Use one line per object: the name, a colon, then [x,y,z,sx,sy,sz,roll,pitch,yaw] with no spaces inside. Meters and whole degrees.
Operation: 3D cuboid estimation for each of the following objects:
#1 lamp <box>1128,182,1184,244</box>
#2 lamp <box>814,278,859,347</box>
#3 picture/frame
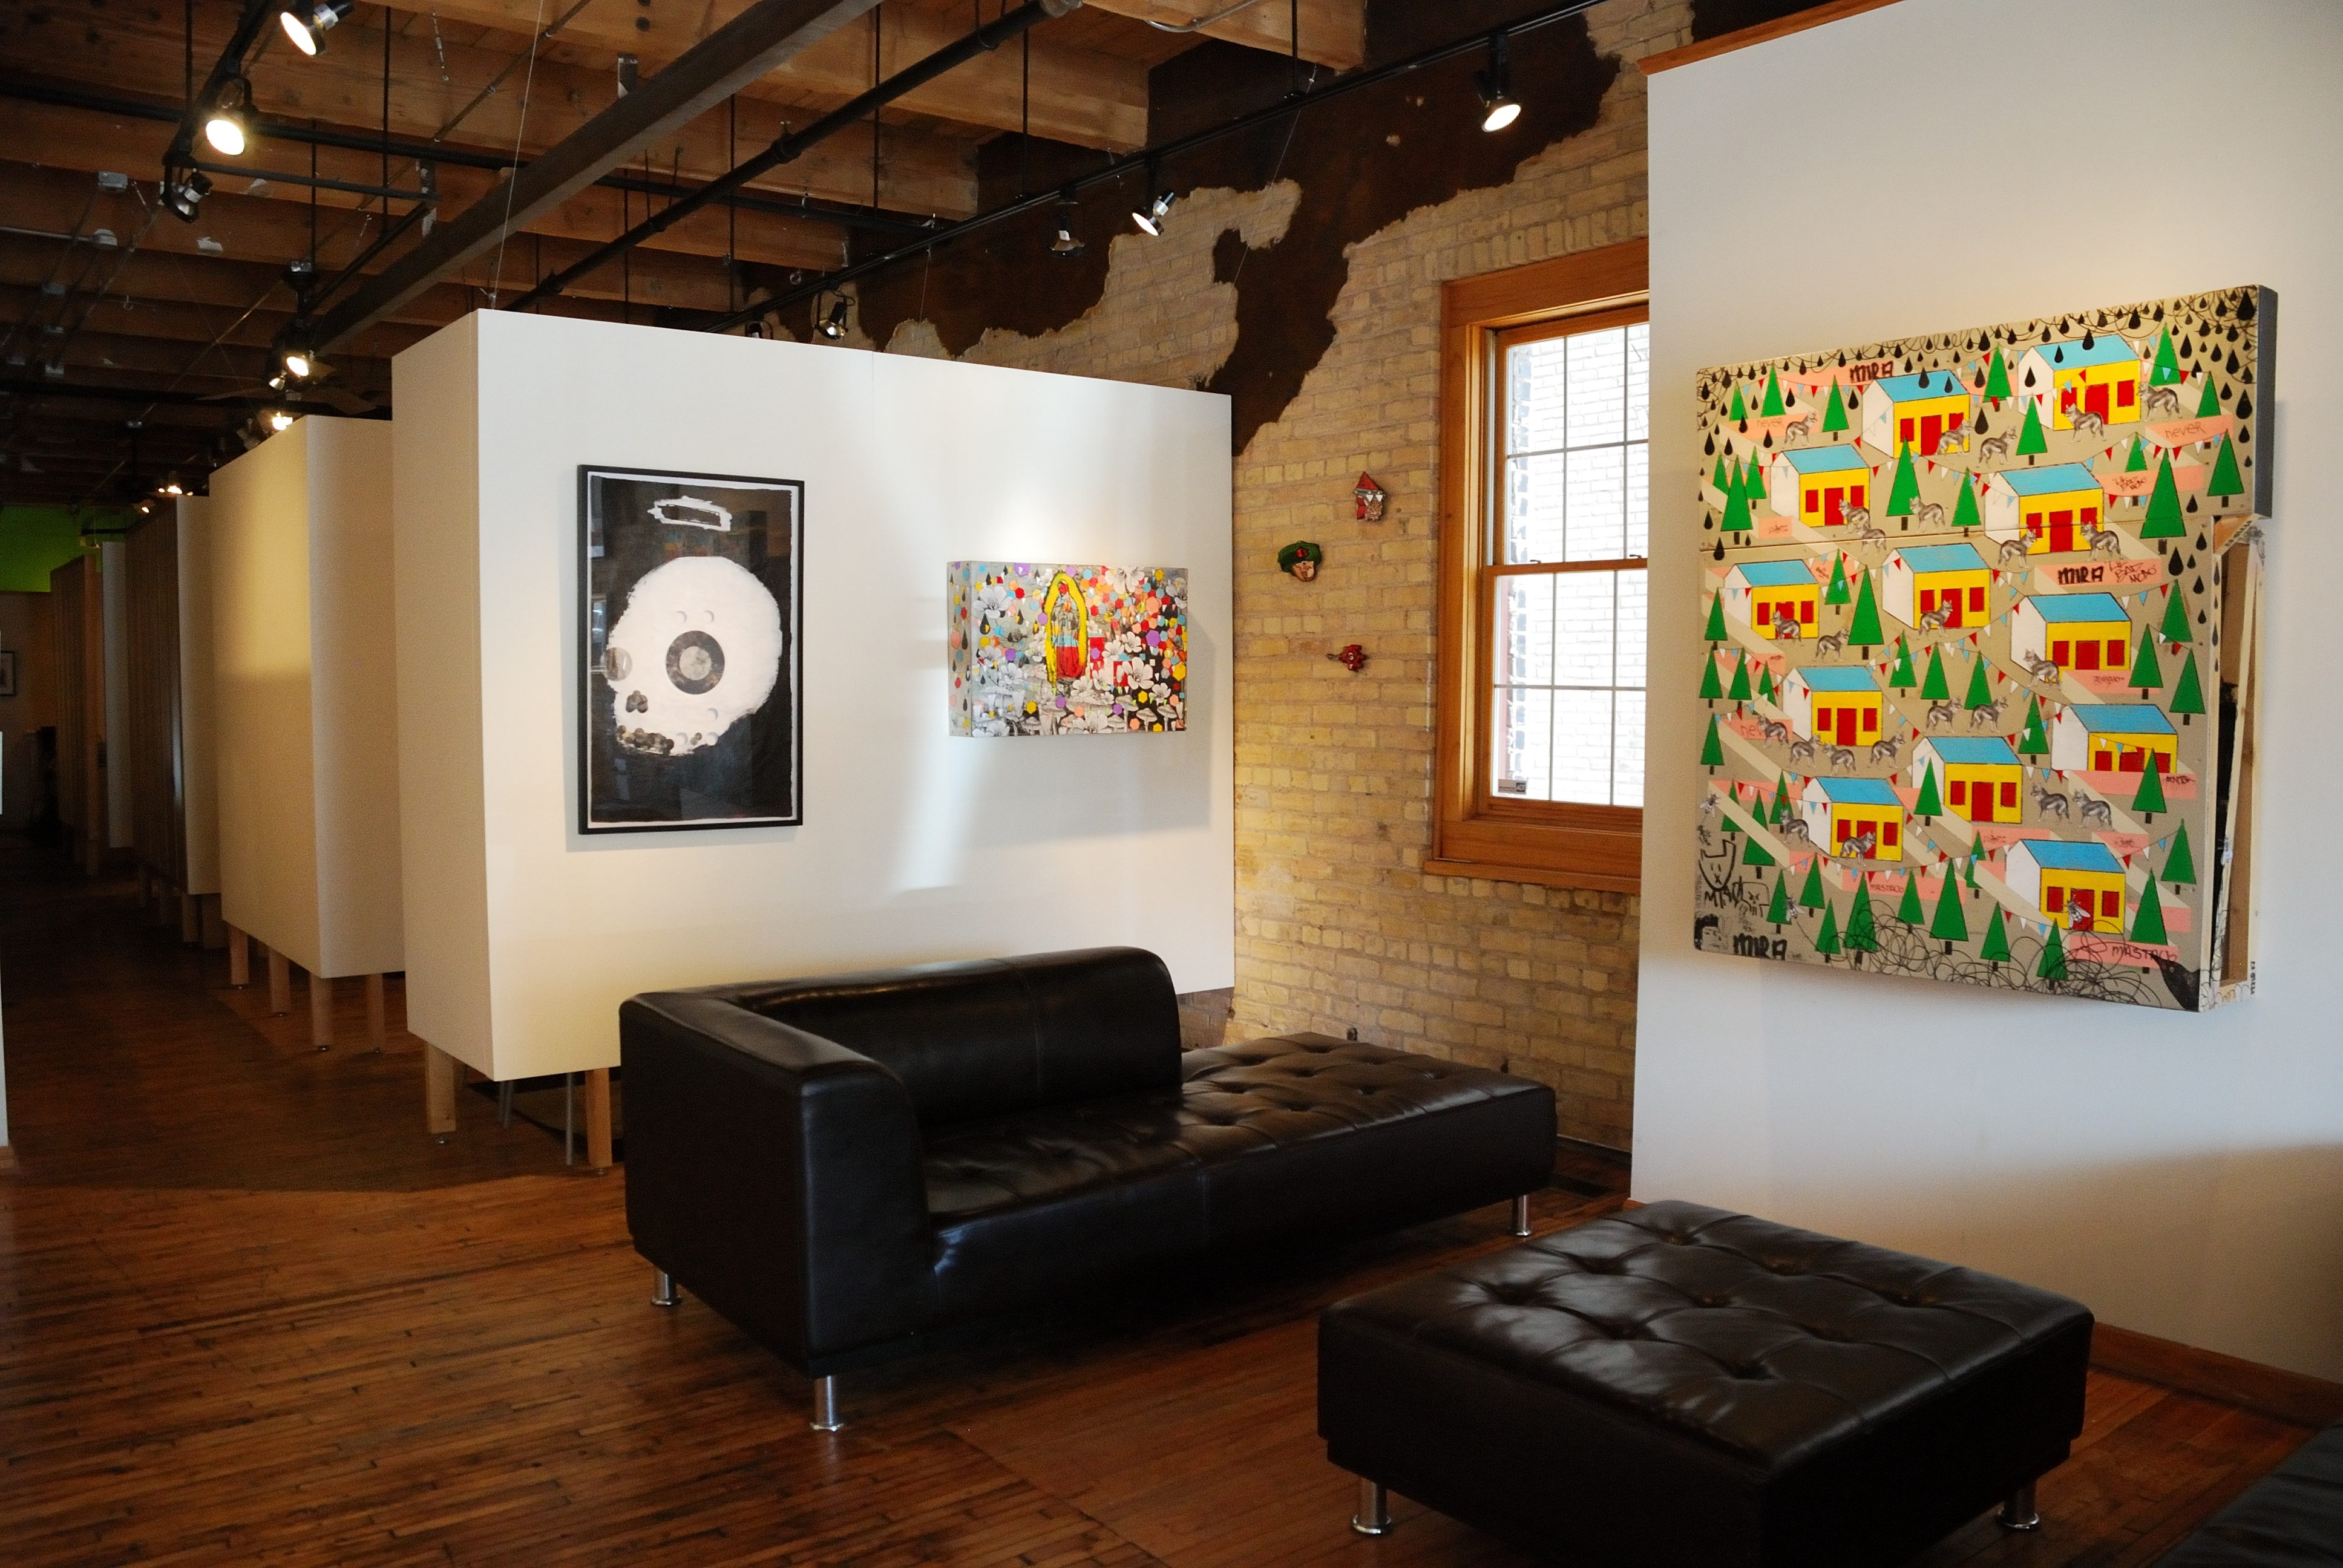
lamp: [-0.092,-2.526,7.473,0.177,0.213,0.555,-3,19,7]
lamp: [-1.925,-2.721,9.764,0.260,0.321,0.824,-1,16,-18]
picture/frame: [-1.813,-0.510,6.401,0.875,1.352,0.320,-4,11,-19]
